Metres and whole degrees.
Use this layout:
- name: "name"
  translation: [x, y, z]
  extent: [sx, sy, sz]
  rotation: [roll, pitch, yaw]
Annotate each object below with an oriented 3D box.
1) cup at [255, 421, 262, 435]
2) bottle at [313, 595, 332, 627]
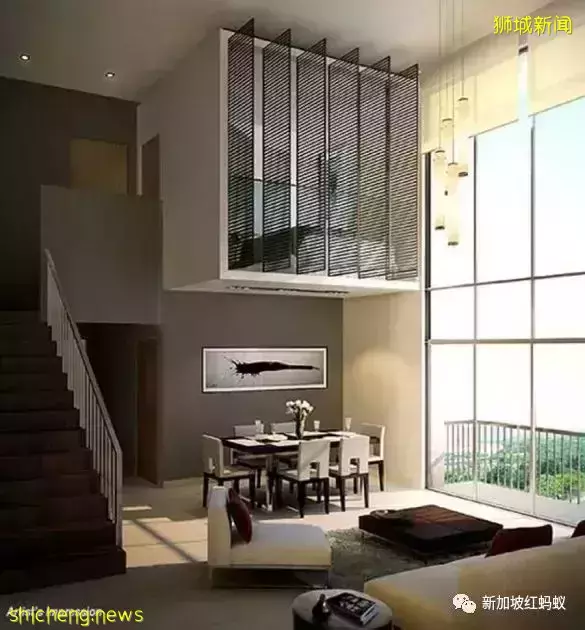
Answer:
- name: "cup"
  translation: [-0.474, 1.583, 7.753]
  extent: [0.133, 0.261, 0.148]
  rotation: [0, -3, -7]
- name: "bottle"
  translation: [0.154, 1.509, 2.828]
  extent: [0.064, 0.111, 0.072]
  rotation: [0, -2, -16]
